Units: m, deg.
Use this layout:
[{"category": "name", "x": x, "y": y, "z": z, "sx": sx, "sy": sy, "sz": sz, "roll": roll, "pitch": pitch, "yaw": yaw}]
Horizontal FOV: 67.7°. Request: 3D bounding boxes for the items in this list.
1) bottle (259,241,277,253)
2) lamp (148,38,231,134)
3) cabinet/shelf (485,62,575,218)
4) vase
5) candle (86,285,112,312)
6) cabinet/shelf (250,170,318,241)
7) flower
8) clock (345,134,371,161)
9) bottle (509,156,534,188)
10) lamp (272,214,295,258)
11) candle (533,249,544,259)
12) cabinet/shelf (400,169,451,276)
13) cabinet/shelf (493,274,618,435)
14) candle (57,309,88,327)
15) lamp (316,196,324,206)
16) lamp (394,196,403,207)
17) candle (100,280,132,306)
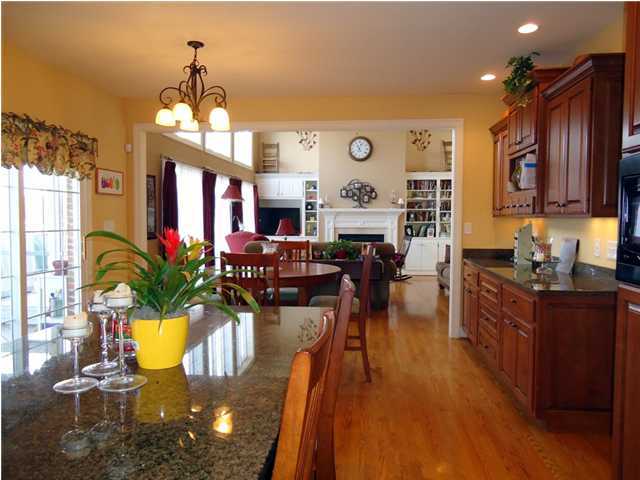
[{"category": "bottle", "x": -0.604, "y": 0.072, "z": 5.552, "sx": 0.219, "sy": 0.170, "sz": 0.199, "roll": 1, "pitch": 2, "yaw": 0}, {"category": "lamp", "x": -1.100, "y": -1.379, "z": 4.157, "sx": 0.638, "sy": 0.663, "sz": 0.597, "roll": -9, "pitch": 28, "yaw": -28}, {"category": "cabinet/shelf", "x": 1.887, "y": -0.893, "z": 4.248, "sx": 0.274, "sy": 0.920, "sz": 1.407, "roll": 1, "pitch": 6, "yaw": 10}, {"category": "vase", "x": -0.705, "y": 0.432, "z": 2.122, "sx": 0.238, "sy": 0.223, "sz": 0.263, "roll": 1, "pitch": -7, "yaw": -1}, {"category": "candle", "x": -0.977, "y": 0.263, "z": 2.157, "sx": 0.106, "sy": 0.104, "sz": 0.108, "roll": 1, "pitch": -6, "yaw": -3}, {"category": "cabinet/shelf", "x": -0.817, "y": -0.837, "z": 11.220, "sx": 1.761, "sy": 1.752, "sz": 0.581, "roll": 0, "pitch": 0, "yaw": 7}, {"category": "flower", "x": -1.137, "y": 0.228, "z": 3.394, "sx": 1.073, "sy": 0.628, "sz": 1.096, "roll": 3, "pitch": 0, "yaw": 3}, {"category": "clock", "x": 0.894, "y": -2.083, "z": 10.818, "sx": 0.592, "sy": 0.613, "sz": 0.090, "roll": 0, "pitch": 1, "yaw": 7}, {"category": "bottle", "x": 1.847, "y": -0.619, "z": 4.342, "sx": 0.223, "sy": 0.298, "sz": 0.107, "roll": 4, "pitch": 7, "yaw": 10}, {"category": "lamp", "x": -0.560, "y": -0.072, "z": 7.566, "sx": 0.306, "sy": 0.554, "sz": 0.310, "roll": 1, "pitch": 6, "yaw": 13}, {"category": "candle", "x": 1.900, "y": 0.129, "z": 4.200, "sx": 0.082, "sy": 0.089, "sz": 0.083, "roll": 1, "pitch": -12, "yaw": -8}, {"category": "cabinet/shelf", "x": 2.336, "y": -0.420, "z": 10.583, "sx": 1.004, "sy": 2.166, "sz": 0.869, "roll": 3, "pitch": 14, "yaw": 8}, {"category": "cabinet/shelf", "x": 1.925, "y": 0.777, "z": 3.801, "sx": 0.833, "sy": 1.270, "sz": 1.245, "roll": 1, "pitch": -1, "yaw": 12}, {"category": "candle", "x": -1.034, "y": 0.332, "z": 2.039, "sx": 0.073, "sy": 0.046, "sz": 0.074, "roll": 1, "pitch": -3, "yaw": -5}, {"category": "lamp", "x": 0.015, "y": -0.879, "z": 10.801, "sx": 0.188, "sy": 0.348, "sz": 0.192, "roll": 2, "pitch": 1, "yaw": 10}, {"category": "lamp", "x": 1.763, "y": -0.849, "z": 10.598, "sx": 0.122, "sy": 0.223, "sz": 0.173, "roll": -5, "pitch": 15, "yaw": -23}, {"category": "candle", "x": -0.864, "y": 0.221, "z": 2.046, "sx": 0.105, "sy": 0.103, "sz": 0.106, "roll": 3, "pitch": 1, "yaw": -4}]
